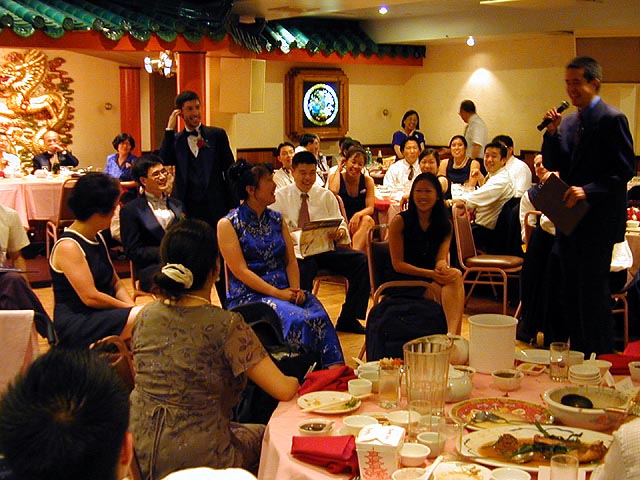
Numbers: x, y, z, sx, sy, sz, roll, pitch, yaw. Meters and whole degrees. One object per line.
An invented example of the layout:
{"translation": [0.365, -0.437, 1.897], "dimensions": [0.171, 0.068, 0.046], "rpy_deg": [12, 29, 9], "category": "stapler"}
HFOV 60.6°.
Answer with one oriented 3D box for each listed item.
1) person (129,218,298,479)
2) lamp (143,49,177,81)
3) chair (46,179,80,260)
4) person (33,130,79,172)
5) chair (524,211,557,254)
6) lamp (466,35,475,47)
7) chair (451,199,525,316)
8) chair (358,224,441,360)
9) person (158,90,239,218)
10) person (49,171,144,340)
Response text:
{"translation": [-0.403, 0.436, 2.228], "dimensions": [0.486, 1.197, 0.697], "rpy_deg": [14, 30, 16], "category": "person"}
{"translation": [-2.128, -2.410, 7.491], "dimensions": [0.372, 0.385, 0.783], "rpy_deg": [-3, 10, -27], "category": "lamp"}
{"translation": [-3.038, -0.269, 6.481], "dimensions": [0.375, 0.904, 0.401], "rpy_deg": [-4, 13, -44], "category": "chair"}
{"translation": [-3.939, -1.300, 8.110], "dimensions": [0.556, 0.594, 1.374], "rpy_deg": [0, 9, -13], "category": "person"}
{"translation": [1.942, -0.106, 4.956], "dimensions": [0.204, 0.311, 0.175], "rpy_deg": [-10, -5, 23], "category": "chair"}
{"translation": [2.688, -3.570, 9.891], "dimensions": [0.224, 0.242, 0.052], "rpy_deg": [-1, 2, -41], "category": "lamp"}
{"translation": [1.520, 0.155, 4.952], "dimensions": [0.573, 0.974, 0.490], "rpy_deg": [3, 11, 36], "category": "chair"}
{"translation": [0.508, 0.335, 3.394], "dimensions": [0.411, 0.747, 0.520], "rpy_deg": [-2, -1, 12], "category": "chair"}
{"translation": [-1.061, -0.527, 4.933], "dimensions": [0.528, 1.490, 0.385], "rpy_deg": [-7, 19, -2], "category": "person"}
{"translation": [-1.219, 0.111, 3.002], "dimensions": [0.457, 0.932, 0.536], "rpy_deg": [-3, 10, -28], "category": "person"}
